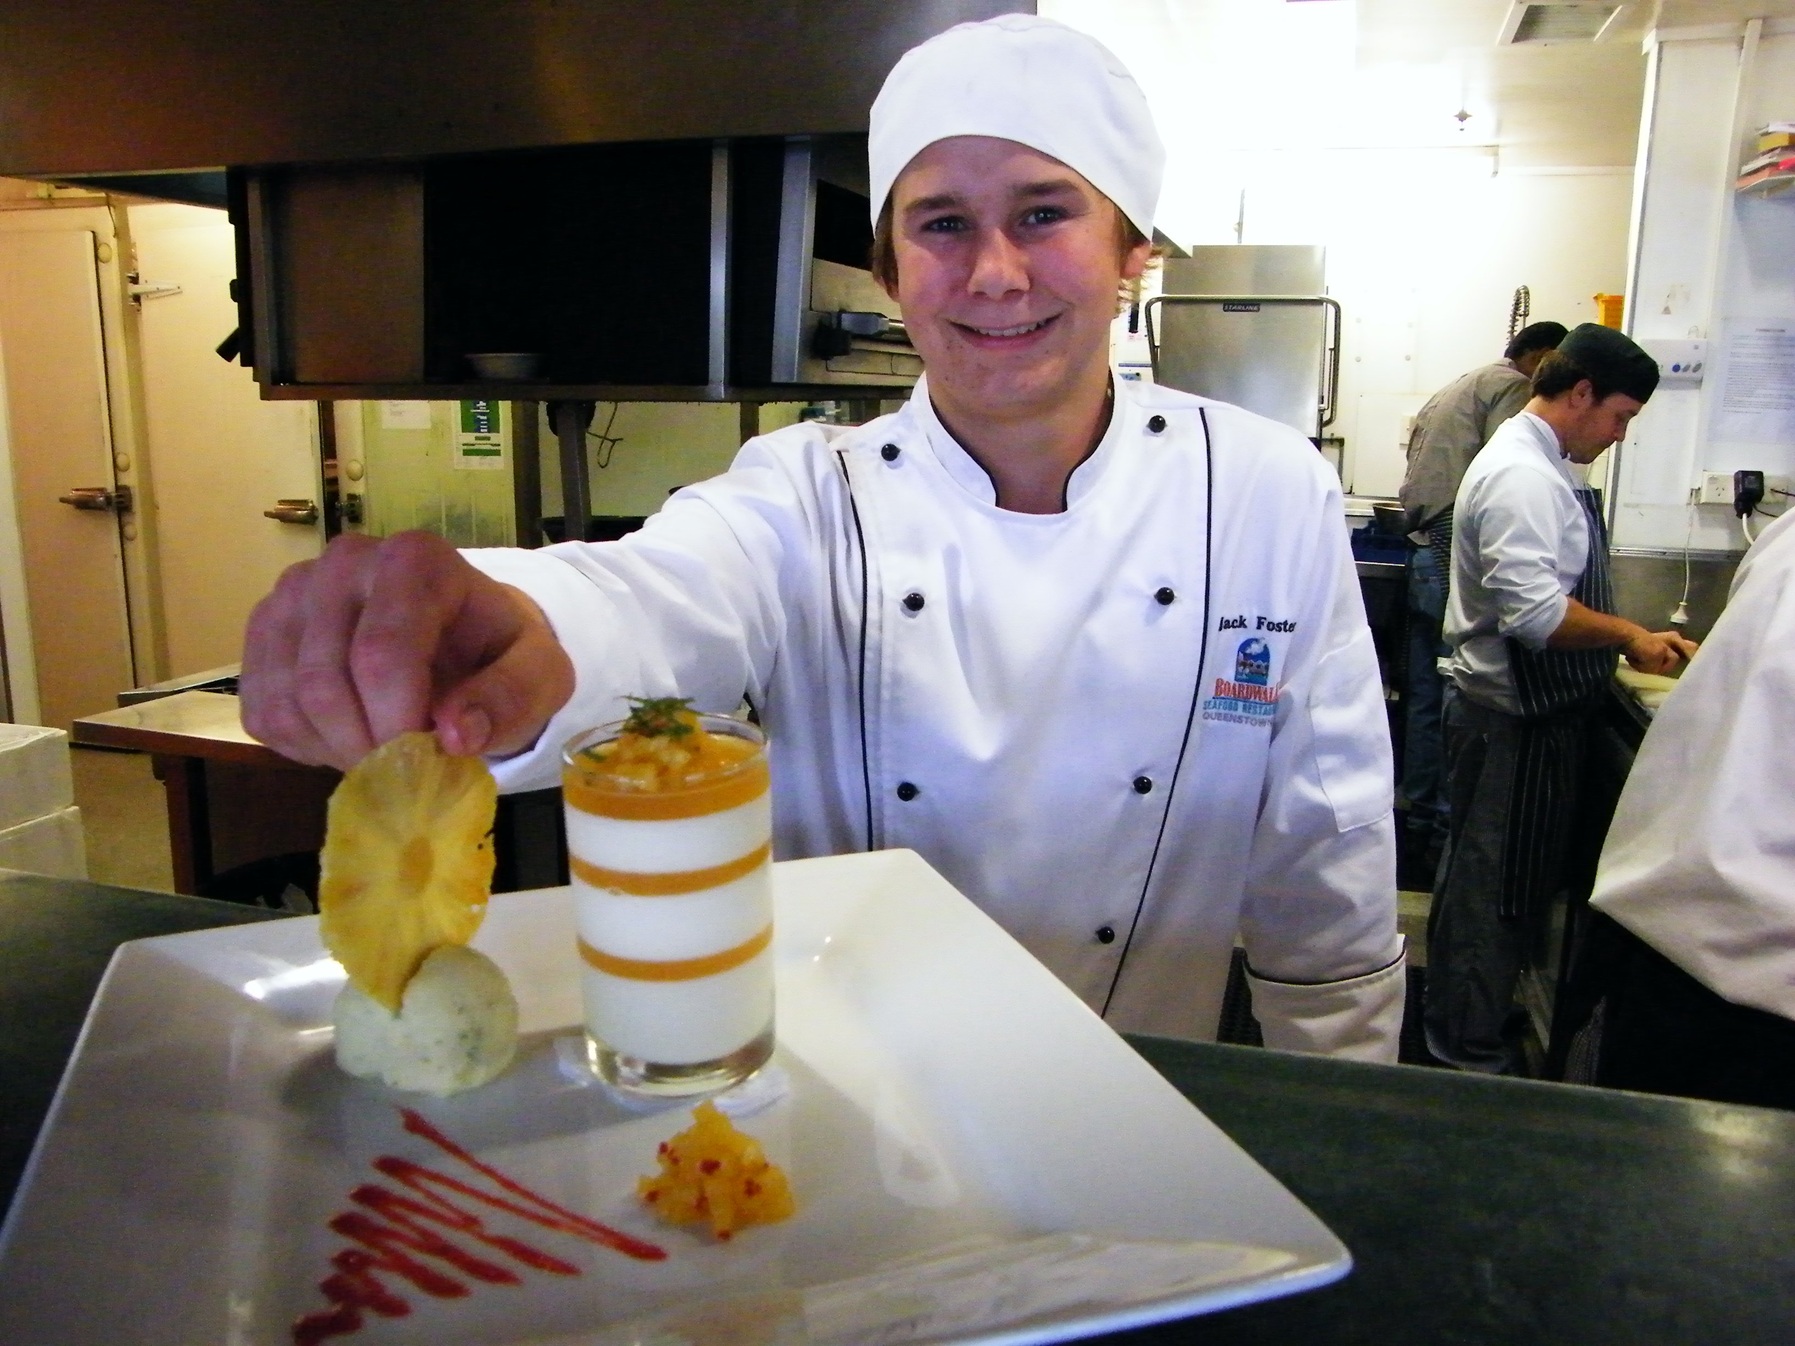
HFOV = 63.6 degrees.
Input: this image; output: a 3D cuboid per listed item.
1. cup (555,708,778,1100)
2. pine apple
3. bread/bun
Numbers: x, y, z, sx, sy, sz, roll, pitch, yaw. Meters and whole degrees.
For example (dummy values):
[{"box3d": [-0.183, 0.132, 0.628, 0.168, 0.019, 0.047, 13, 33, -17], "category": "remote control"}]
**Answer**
[{"box3d": [-0.248, 0.243, 1.633, 0.189, 0.449, 0.215, 8, 16, 21], "category": "cup"}, {"box3d": [-0.528, 0.202, 1.547, 0.175, 0.318, 0.159, -1, 17, -19], "category": "pine apple"}, {"box3d": [-0.516, 0.361, 1.646, 0.169, 0.147, 0.168, 4, 11, 10], "category": "bread/bun"}]
